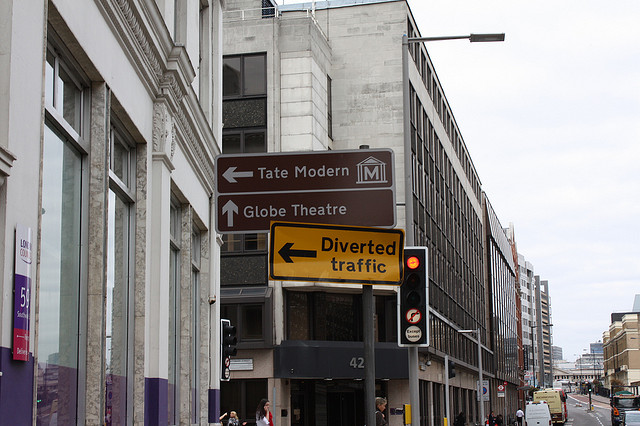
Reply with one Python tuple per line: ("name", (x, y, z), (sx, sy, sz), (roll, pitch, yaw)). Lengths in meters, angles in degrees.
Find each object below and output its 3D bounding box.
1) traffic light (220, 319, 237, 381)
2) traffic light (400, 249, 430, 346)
("traffic light", (-2.207, 3.244, 21.208), (0.345, 1.544, 0.726), (1, -18, -7))
("traffic light", (1.507, 1.350, 14.453), (0.467, 1.462, 0.681), (-2, -18, 4))
